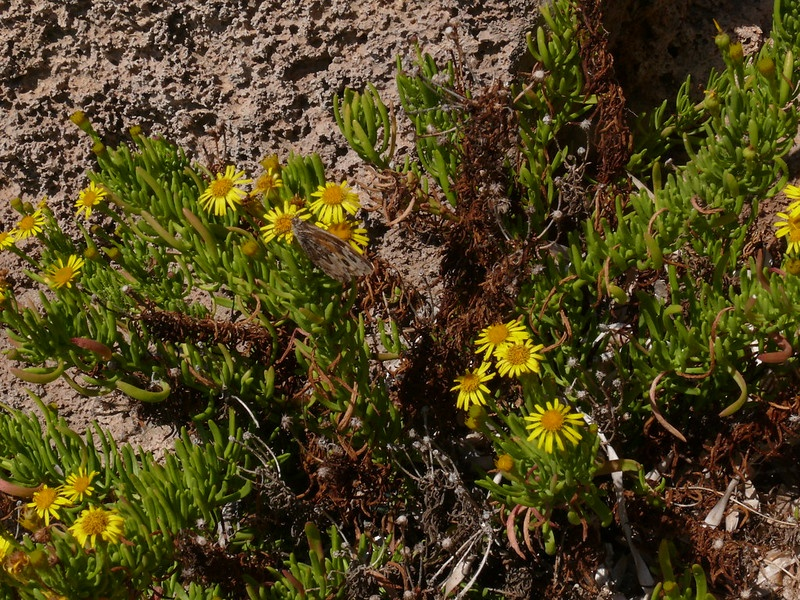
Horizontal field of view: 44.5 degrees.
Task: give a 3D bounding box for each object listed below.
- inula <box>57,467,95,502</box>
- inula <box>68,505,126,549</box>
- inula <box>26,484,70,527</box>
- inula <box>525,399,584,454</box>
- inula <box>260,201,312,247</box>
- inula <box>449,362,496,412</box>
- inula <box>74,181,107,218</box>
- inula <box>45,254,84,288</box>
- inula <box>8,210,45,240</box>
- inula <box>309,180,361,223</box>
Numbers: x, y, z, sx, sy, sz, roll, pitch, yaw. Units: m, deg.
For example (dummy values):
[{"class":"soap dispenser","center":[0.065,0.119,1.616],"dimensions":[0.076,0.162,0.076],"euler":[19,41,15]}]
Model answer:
[{"class":"inula","center":[-0.803,0.468,2.433],"dimensions":[0.079,0.032,0.080],"euler":[-40,49,-5]},{"class":"inula","center":[-0.723,0.549,2.340],"dimensions":[0.080,0.117,0.089],"euler":[-34,37,-28]},{"class":"inula","center":[-0.871,0.509,2.419],"dimensions":[0.088,0.032,0.101],"euler":[27,81,8]},{"class":"inula","center":[0.364,0.305,2.321],"dimensions":[0.116,0.036,0.130],"euler":[30,84,24]},{"class":"inula","center":[-0.289,-0.187,2.399],"dimensions":[0.094,0.126,0.116],"euler":[-2,16,27]},{"class":"inula","center":[0.179,0.229,2.466],"dimensions":[0.126,0.048,0.146],"euler":[-25,28,28]},{"class":"inula","center":[-0.879,-0.289,2.775],"dimensions":[0.073,0.023,0.090],"euler":[7,73,48]},{"class":"inula","center":[-0.909,-0.078,2.649],"dimensions":[0.094,0.028,0.089],"euler":[-56,37,-8]},{"class":"inula","center":[-1.029,-0.208,2.710],"dimensions":[0.074,0.024,0.090],"euler":[-10,48,17]},{"class":"inula","center":[-0.167,-0.235,2.436],"dimensions":[0.110,0.127,0.052],"euler":[10,92,27]}]
